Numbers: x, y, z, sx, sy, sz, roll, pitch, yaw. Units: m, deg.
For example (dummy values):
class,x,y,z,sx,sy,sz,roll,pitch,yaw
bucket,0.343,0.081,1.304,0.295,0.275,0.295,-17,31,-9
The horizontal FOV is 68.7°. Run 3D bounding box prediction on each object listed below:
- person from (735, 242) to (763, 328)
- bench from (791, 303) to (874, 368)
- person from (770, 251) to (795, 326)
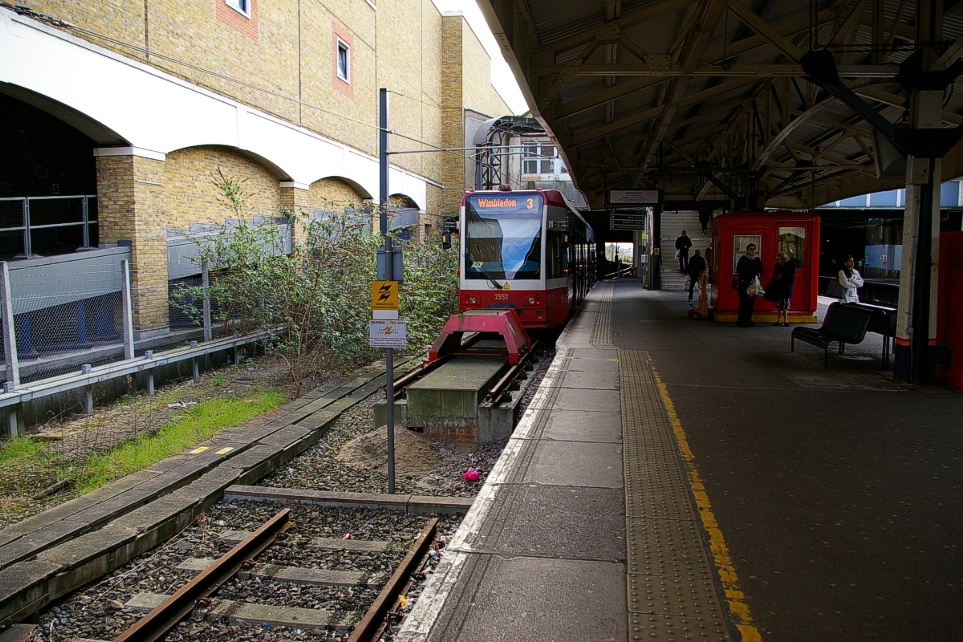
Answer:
class,x,y,z,sx,sy,sz,roll,pitch,yaw
person,7.540,-1.013,19.900,0.697,2.335,0.901,2,13,20
bench,7.342,0.238,14.854,0.947,1.026,1.654,-7,8,1
person,8.463,-0.885,19.852,0.545,2.088,1.117,2,13,23
